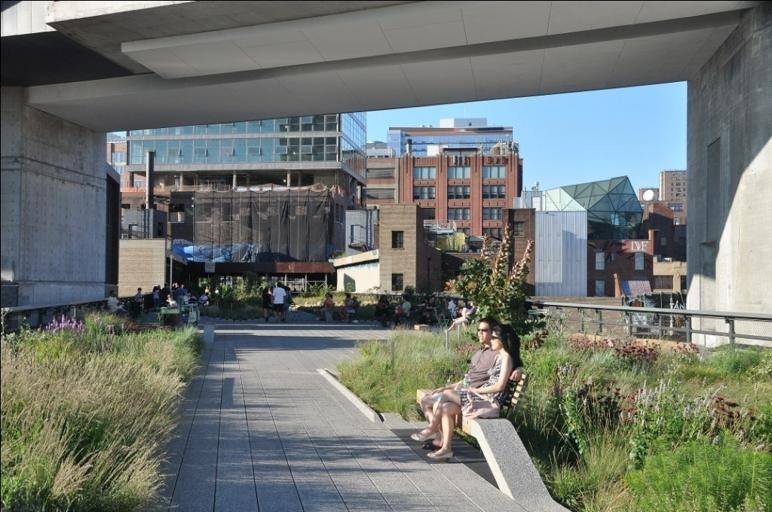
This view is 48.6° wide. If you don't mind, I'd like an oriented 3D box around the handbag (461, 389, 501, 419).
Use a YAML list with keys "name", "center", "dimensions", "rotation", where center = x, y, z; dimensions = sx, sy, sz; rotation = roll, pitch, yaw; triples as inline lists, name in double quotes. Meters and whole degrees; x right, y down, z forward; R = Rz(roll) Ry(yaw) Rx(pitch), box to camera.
- name: "handbag"
  center: [1.571, 2.440, 14.035]
  dimensions: [0.470, 0.210, 0.373]
  rotation: [3, -3, -35]

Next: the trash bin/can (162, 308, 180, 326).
- name: "trash bin/can"
  center: [-6.795, 1.940, 26.897]
  dimensions: [0.560, 0.347, 1.408]
  rotation: [0, 4, -15]
